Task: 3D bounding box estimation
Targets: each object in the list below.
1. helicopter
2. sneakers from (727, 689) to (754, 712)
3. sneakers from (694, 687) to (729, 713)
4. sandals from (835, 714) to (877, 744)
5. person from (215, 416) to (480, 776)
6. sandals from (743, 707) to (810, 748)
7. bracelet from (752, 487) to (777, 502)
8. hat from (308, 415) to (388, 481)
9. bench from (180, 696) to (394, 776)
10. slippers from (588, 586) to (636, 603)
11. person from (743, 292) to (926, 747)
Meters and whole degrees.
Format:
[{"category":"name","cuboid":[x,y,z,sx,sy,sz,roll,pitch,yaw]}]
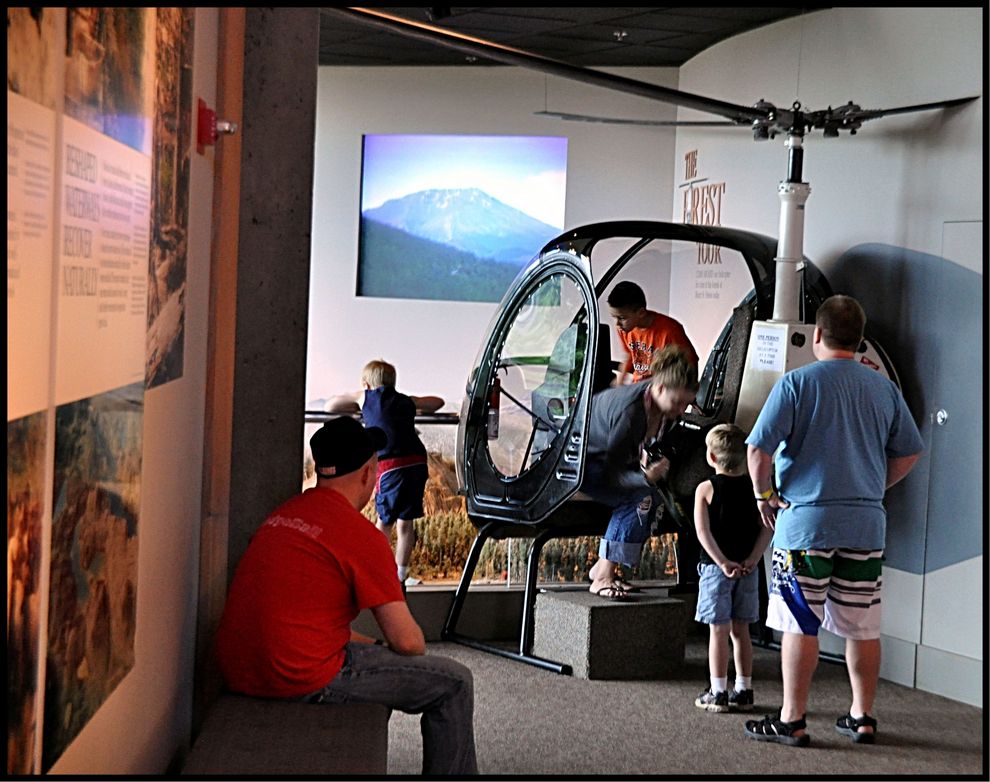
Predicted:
[{"category":"helicopter","cuboid":[0.693,0.330,4.828,3.801,2.854,3.157,1,3,-30]},{"category":"sneakers","cuboid":[1.112,1.385,3.572,0.158,0.074,0.059,6,-6,-22]},{"category":"sneakers","cuboid":[0.955,1.360,3.553,0.071,0.088,0.170,3,-1,-40]},{"category":"sandals","cuboid":[1.489,1.371,3.314,0.077,0.086,0.195,1,3,-8]},{"category":"person","cuboid":[-0.623,0.602,2.915,0.976,1.579,0.817,-3,5,-37]},{"category":"sandals","cuboid":[1.136,1.357,3.268,0.259,0.123,0.105,0,0,37]},{"category":"bracelet","cuboid":[1.060,0.408,3.172,0.069,0.042,0.053,-1,-1,-35]},{"category":"hat","cuboid":[-0.442,0.165,2.417,0.154,0.125,0.221,11,37,37]},{"category":"bench","cuboid":[-0.524,0.913,2.091,0.480,0.076,0.467,1,1,-7]},{"category":"slippers","cuboid":[0.602,1.022,4.097,0.085,0.059,0.211,3,-7,-30]},{"category":"person","cuboid":[1.343,0.505,3.274,0.668,1.755,0.457,-2,5,0]}]
